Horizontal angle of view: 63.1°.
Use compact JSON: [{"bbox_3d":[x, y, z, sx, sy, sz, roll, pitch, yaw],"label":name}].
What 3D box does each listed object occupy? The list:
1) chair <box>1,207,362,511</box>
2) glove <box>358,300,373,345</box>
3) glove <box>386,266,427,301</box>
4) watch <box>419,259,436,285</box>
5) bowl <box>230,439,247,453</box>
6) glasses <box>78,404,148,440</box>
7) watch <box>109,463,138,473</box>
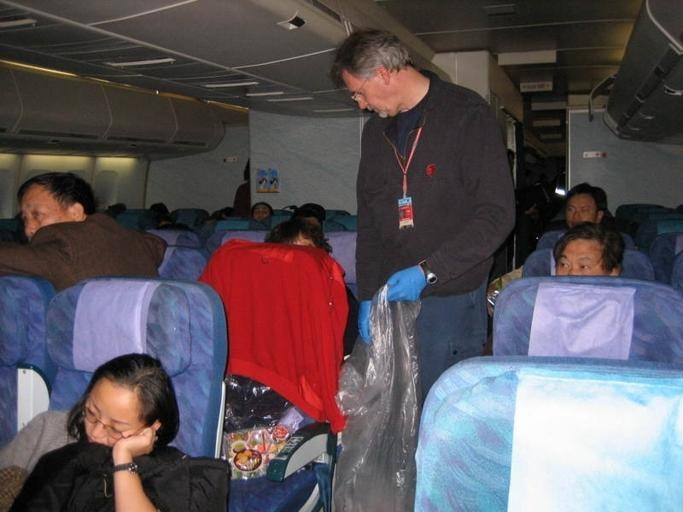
[{"bbox_3d":[-0.460,0.355,2.346,0.651,0.996,0.851,-4,-30,14],"label":"chair"},{"bbox_3d":[0.084,0.233,2.024,0.041,0.128,0.091,7,-4,6],"label":"glove"},{"bbox_3d":[0.210,0.085,1.801,0.130,0.113,0.066,1,2,7],"label":"glove"},{"bbox_3d":[0.273,0.049,1.759,0.037,0.060,0.052,-28,38,-12],"label":"watch"},{"bbox_3d":[-0.386,0.703,2.069,0.049,0.054,0.022,9,-3,10],"label":"bowl"},{"bbox_3d":[-0.706,0.504,1.657,0.113,0.038,0.118,9,-2,23],"label":"glasses"},{"bbox_3d":[-0.620,0.606,1.598,0.051,0.032,0.053,0,-20,-9],"label":"watch"}]
